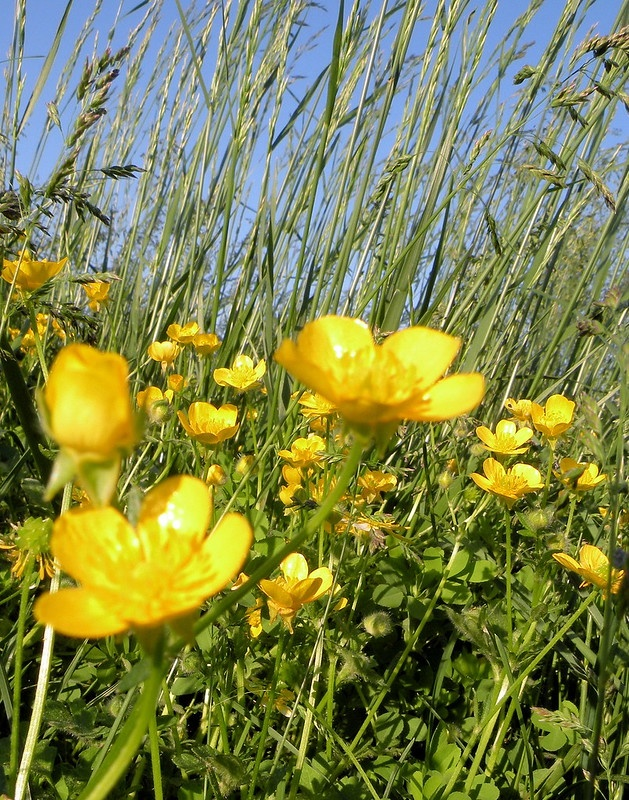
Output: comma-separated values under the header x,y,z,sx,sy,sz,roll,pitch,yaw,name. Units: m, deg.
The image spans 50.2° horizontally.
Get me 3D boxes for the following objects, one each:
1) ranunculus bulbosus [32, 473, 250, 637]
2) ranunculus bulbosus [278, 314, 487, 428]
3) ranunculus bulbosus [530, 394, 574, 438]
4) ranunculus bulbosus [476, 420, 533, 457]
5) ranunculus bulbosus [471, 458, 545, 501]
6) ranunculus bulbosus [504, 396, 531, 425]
x,y,z,sx,sy,sz,roll,pitch,yaw,name
-0.118,0.124,0.486,0.145,0.059,0.171,1,19,-11,ranunculus bulbosus
0.050,-0.002,0.631,0.164,0.094,0.180,6,-20,-1,ranunculus bulbosus
0.570,0.033,1.604,0.088,0.056,0.115,-11,44,12,ranunculus bulbosus
0.454,0.105,1.621,0.110,0.058,0.115,-8,25,1,ranunculus bulbosus
0.410,0.165,1.388,0.117,0.077,0.119,-3,7,-27,ranunculus bulbosus
0.548,0.022,1.799,0.083,0.044,0.087,7,10,25,ranunculus bulbosus
